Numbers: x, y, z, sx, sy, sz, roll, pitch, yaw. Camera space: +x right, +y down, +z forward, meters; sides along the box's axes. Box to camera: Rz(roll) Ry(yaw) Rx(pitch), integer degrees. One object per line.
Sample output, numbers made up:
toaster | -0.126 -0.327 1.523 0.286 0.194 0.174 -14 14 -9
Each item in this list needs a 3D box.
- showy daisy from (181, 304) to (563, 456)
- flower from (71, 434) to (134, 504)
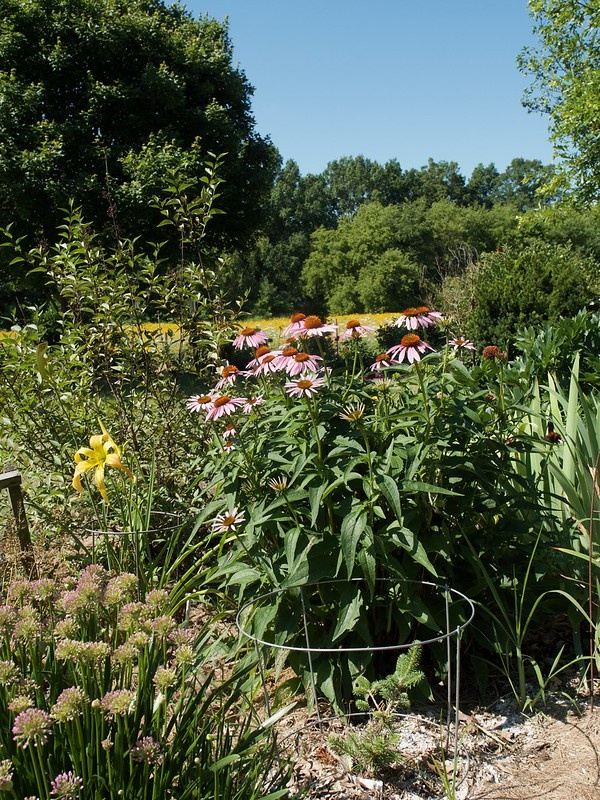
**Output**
showy daisy | 0.009 -0.083 2.592 1.202 0.442 0.785 -1 2 33
flower | -0.510 0.161 1.778 0.159 0.064 0.143 -12 40 -2
